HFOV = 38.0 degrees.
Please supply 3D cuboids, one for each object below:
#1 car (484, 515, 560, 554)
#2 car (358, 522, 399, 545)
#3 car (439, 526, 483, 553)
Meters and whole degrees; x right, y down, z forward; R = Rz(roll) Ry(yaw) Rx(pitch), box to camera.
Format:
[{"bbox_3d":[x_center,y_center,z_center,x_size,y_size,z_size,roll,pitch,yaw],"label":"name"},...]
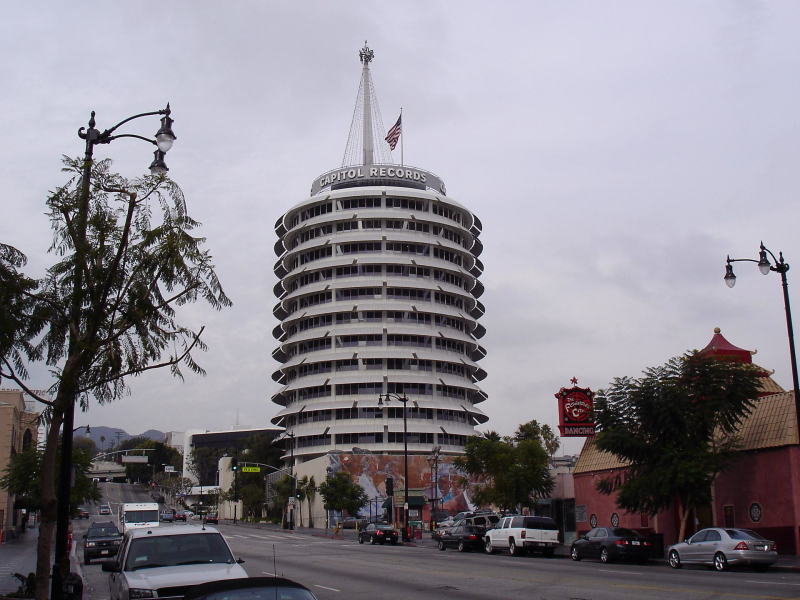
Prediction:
[{"bbox_3d":[6.394,12.503,61.688,1.713,2.155,4.068,6,-8,-36],"label":"car"},{"bbox_3d":[-1.476,15.650,77.847,2.580,1.366,1.561,-5,-9,44],"label":"car"},{"bbox_3d":[3.608,13.694,66.844,0.956,1.574,3.939,5,-7,-25],"label":"car"}]
